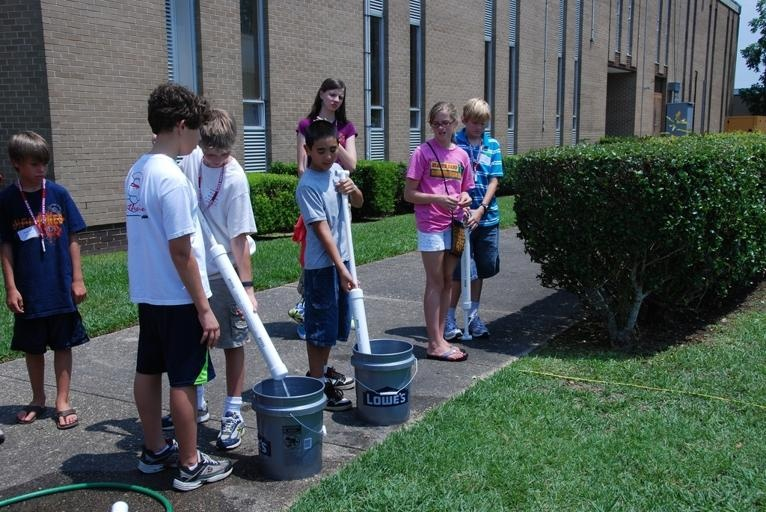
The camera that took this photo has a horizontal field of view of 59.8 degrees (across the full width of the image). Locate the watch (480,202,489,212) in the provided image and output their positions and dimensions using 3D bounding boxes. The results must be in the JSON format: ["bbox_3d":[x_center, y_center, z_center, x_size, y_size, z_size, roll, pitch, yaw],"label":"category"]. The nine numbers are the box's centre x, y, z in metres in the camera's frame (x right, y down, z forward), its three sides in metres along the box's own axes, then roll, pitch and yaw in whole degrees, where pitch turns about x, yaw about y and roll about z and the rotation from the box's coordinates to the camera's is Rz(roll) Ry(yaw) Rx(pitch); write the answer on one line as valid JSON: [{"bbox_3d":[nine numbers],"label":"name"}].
[{"bbox_3d":[1.050,-0.504,6.890,0.078,0.030,0.068,19,25,-31],"label":"watch"}]

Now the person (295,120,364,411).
[{"bbox_3d":[-0.452,0.087,5.532,0.478,2.374,0.624,-2,13,-5],"label":"person"}]

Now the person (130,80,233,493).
[{"bbox_3d":[-1.459,0.236,4.571,0.639,2.735,0.582,-6,14,-22],"label":"person"}]

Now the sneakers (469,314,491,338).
[{"bbox_3d":[1.040,0.777,7.328,0.134,0.152,0.325,-2,3,-22],"label":"sneakers"}]

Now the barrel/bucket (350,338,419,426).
[{"bbox_3d":[-0.024,0.950,5.589,0.620,0.550,0.613,0,13,0],"label":"barrel/bucket"}]

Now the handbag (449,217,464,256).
[{"bbox_3d":[0.759,-0.199,6.588,0.110,0.343,0.305,7,15,28],"label":"handbag"}]

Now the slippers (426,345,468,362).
[{"bbox_3d":[0.640,0.957,6.567,0.302,0.091,0.171,-2,12,11],"label":"slippers"}]

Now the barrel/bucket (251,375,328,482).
[{"bbox_3d":[-0.664,1.199,4.992,0.640,0.677,0.647,0,7,0],"label":"barrel/bucket"}]

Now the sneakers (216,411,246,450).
[{"bbox_3d":[-1.165,1.342,5.084,0.127,0.167,0.358,0,5,-6],"label":"sneakers"}]

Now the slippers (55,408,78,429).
[{"bbox_3d":[-2.563,1.306,5.391,0.166,0.118,0.194,-7,15,-26],"label":"slippers"}]

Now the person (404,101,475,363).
[{"bbox_3d":[0.539,-0.242,6.614,0.639,2.489,0.741,1,13,8],"label":"person"}]
